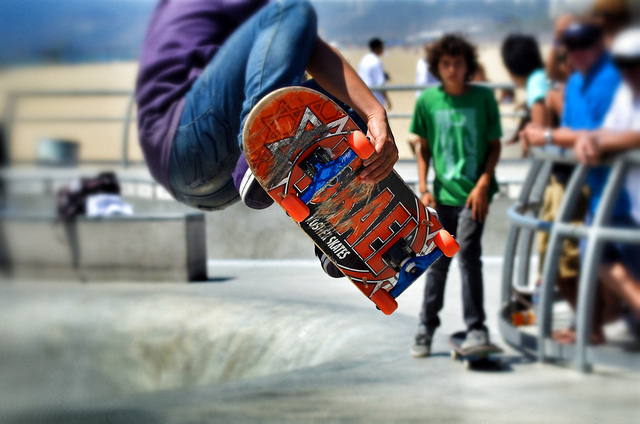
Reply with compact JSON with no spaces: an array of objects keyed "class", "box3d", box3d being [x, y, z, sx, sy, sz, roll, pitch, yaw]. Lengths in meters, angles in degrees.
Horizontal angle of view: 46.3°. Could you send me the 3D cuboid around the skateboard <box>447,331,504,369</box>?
[{"class":"skateboard","box3d":[0.829,0.754,4.105,0.111,0.065,0.378,-5,7,-17]}]
